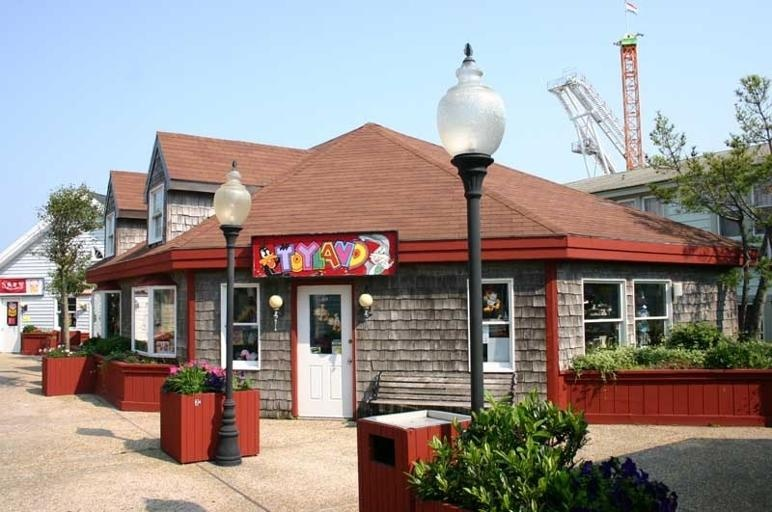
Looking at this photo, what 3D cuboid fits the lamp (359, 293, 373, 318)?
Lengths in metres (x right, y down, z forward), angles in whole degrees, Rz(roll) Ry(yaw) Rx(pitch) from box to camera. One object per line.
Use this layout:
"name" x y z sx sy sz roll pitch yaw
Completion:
"lamp" -0.490 1.243 20.773 0.354 0.635 0.236 -1 7 -1

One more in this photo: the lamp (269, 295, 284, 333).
"lamp" -2.764 1.449 21.210 0.378 0.924 0.267 -2 7 -8

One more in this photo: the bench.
"bench" 1.243 3.489 19.924 3.402 1.345 1.154 -1 -2 20

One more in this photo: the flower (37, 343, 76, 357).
"flower" -9.767 2.852 25.293 0.912 0.263 1.492 -5 8 -27

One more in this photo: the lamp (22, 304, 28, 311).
"lamp" -15.986 2.316 37.479 0.226 0.431 0.229 1 -7 -28
